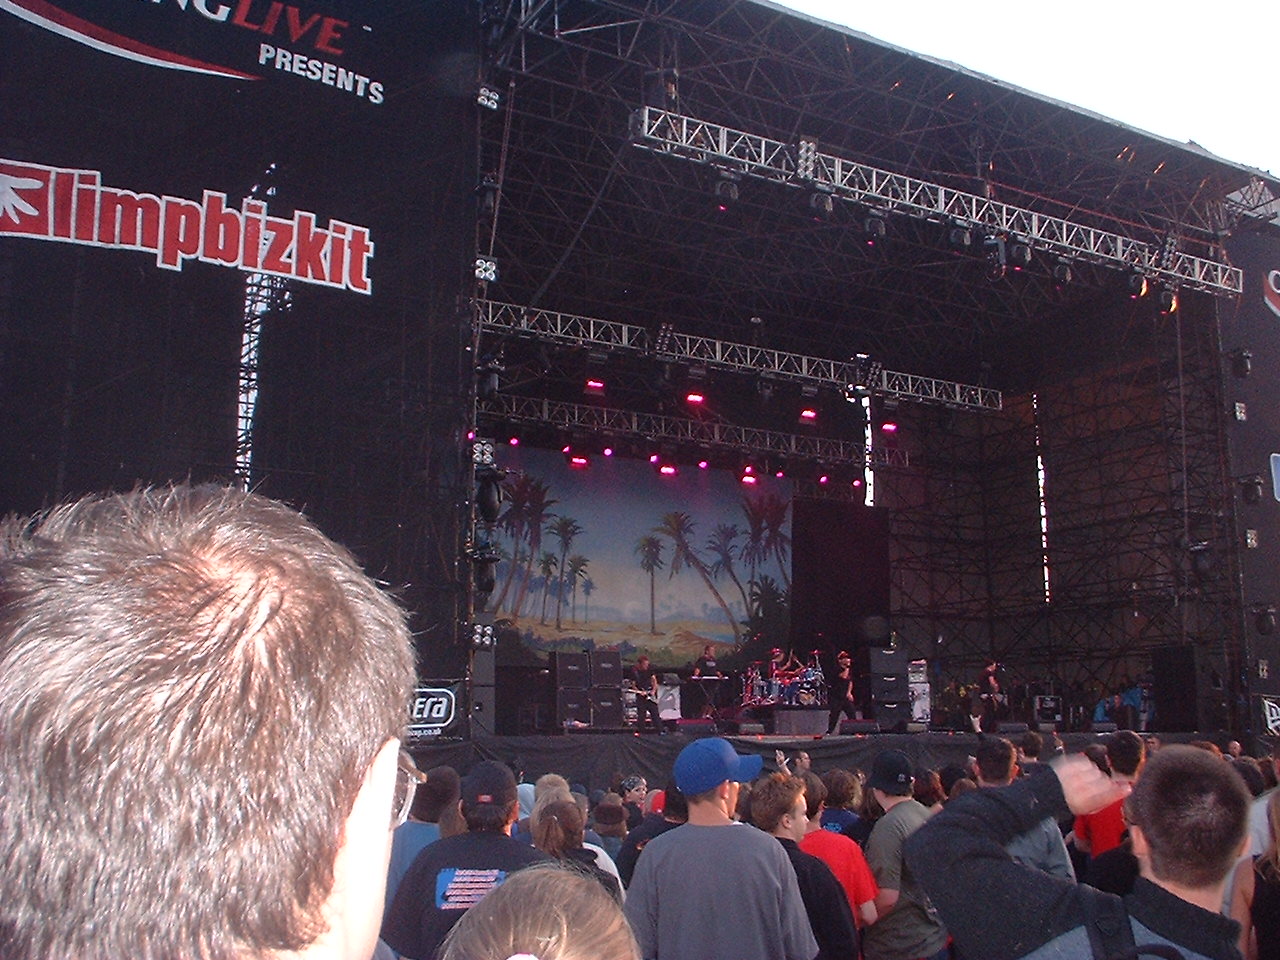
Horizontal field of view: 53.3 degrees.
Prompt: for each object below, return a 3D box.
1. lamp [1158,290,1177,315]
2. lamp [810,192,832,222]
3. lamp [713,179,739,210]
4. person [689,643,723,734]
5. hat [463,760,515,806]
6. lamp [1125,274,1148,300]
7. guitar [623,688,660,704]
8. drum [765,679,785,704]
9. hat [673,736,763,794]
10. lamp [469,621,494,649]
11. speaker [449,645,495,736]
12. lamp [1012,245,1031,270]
[{"bbox_3d":[8.244,-2.807,19.901,0.303,0.358,0.294,8,-6,-41],"label":"lamp"},{"bbox_3d":[2.447,-3.696,17.128,0.332,0.343,0.295,2,-45,4],"label":"lamp"},{"bbox_3d":[1.131,-3.718,16.390,0.336,0.494,0.463,4,11,-1],"label":"lamp"},{"bbox_3d":[1.204,3.467,22.016,0.648,1.359,0.498,1,8,-6],"label":"person"},{"bbox_3d":[-0.542,1.111,4.710,0.161,0.122,0.268,2,-21,2],"label":"hat"},{"bbox_3d":[7.687,-3.028,19.717,0.296,0.297,0.543,11,11,25],"label":"lamp"},{"bbox_3d":[0.011,3.163,19.048,0.565,0.179,0.422,4,-10,-12],"label":"guitar"},{"bbox_3d":[2.182,3.334,20.400,0.268,0.512,0.275,-2,0,0],"label":"drum"},{"bbox_3d":[0.313,1.110,4.940,0.347,0.184,0.216,-15,17,-35],"label":"hat"},{"bbox_3d":[-1.666,1.594,13.408,0.268,0.274,0.064,4,-10,-30],"label":"lamp"},{"bbox_3d":[-1.592,2.112,12.786,0.393,0.888,1.358,14,-3,-4],"label":"speaker"},{"bbox_3d":[5.603,-3.301,18.722,0.321,0.337,0.605,1,-3,19],"label":"lamp"}]
